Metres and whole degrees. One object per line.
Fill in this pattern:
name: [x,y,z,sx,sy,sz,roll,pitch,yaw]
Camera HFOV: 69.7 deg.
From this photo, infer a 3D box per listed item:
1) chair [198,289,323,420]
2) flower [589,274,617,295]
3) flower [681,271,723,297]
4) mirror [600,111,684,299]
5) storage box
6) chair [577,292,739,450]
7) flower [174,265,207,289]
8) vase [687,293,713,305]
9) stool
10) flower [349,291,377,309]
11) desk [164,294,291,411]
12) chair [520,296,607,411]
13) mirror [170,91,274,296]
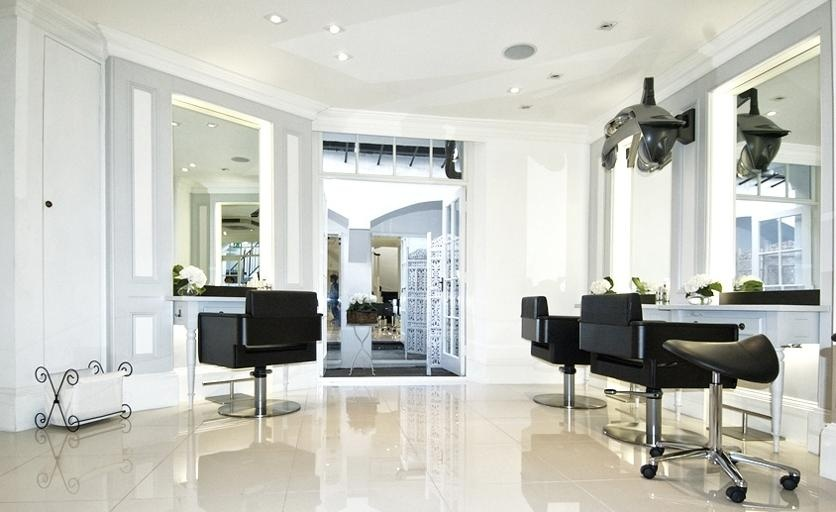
chair: [-1.810,1.117,7.001,1.231,1.271,1.012,5,-9,-37]
flower: [2.460,0.380,7.936,0.258,0.243,0.259,15,-5,-25]
flower: [3.168,0.350,6.695,0.313,0.173,0.301,-6,-15,19]
mirror: [2.873,-0.613,7.660,0.976,2.344,2.077,2,6,17]
storage box: [-3.470,1.531,6.517,0.568,0.503,0.716,-3,-6,26]
chair: [2.403,1.162,6.188,1.159,1.335,1.398,6,-8,-8]
flower: [-2.660,0.268,7.194,0.310,0.177,0.301,24,-3,15]
vase: [3.132,0.470,6.675,0.186,0.075,0.199,1,2,41]
stool: [2.691,1.348,5.614,1.393,1.269,1.455,0,-3,-33]
flower: [-0.926,0.752,10.034,0.329,0.208,0.311,2,-5,-9]
desk: [-2.252,1.085,7.316,1.279,0.990,0.892,1,-24,-25]
chair: [1.821,1.193,7.547,1.224,1.265,1.201,7,-6,-23]
mirror: [-2.461,-0.812,7.771,1.344,2.438,0.606,-2,7,-25]
